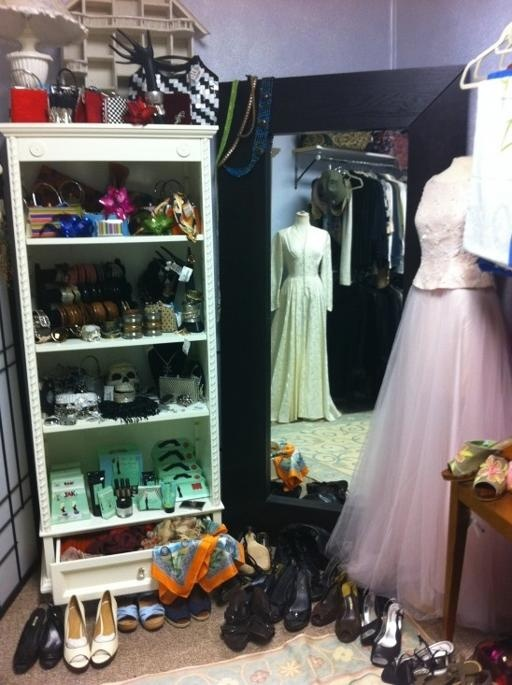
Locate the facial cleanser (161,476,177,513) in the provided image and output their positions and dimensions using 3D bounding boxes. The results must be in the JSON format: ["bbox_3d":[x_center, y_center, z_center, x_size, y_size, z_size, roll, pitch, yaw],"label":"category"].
[{"bbox_3d":[-0.330,0.584,2.092,0.093,0.134,0.083,-3,13,-6],"label":"facial cleanser"}]

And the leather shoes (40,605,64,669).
[{"bbox_3d":[-0.679,0.965,1.769,0.048,0.048,0.155,-1,38,-20],"label":"leather shoes"}]

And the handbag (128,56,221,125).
[{"bbox_3d":[-0.305,-0.907,1.926,0.335,0.285,0.070,-7,19,-23],"label":"handbag"}]

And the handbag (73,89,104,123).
[{"bbox_3d":[-0.554,-0.781,1.774,0.056,0.105,0.096,18,23,39],"label":"handbag"}]

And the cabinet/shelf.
[{"bbox_3d":[-0.492,0.081,2.042,0.799,1.663,0.621,-8,15,-22],"label":"cabinet/shelf"}]

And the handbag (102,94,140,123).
[{"bbox_3d":[-0.484,-0.802,1.844,0.088,0.095,0.051,-7,14,-17],"label":"handbag"}]

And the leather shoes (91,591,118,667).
[{"bbox_3d":[-0.499,0.944,1.763,0.059,0.056,0.189,2,34,-9],"label":"leather shoes"}]

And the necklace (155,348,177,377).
[{"bbox_3d":[-0.367,0.072,2.197,0.109,0.140,0.008,-1,14,-6],"label":"necklace"}]

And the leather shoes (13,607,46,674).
[{"bbox_3d":[-0.738,0.959,1.745,0.047,0.043,0.159,-1,32,-6],"label":"leather shoes"}]

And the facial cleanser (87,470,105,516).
[{"bbox_3d":[-0.601,0.565,2.043,0.064,0.168,0.059,-5,-3,-8],"label":"facial cleanser"}]

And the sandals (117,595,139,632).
[{"bbox_3d":[-0.451,0.957,1.896,0.042,0.033,0.123,-2,25,-12],"label":"sandals"}]

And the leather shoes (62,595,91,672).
[{"bbox_3d":[-0.578,0.940,1.743,0.065,0.079,0.218,1,34,-21],"label":"leather shoes"}]

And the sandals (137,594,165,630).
[{"bbox_3d":[-0.371,0.955,1.903,0.066,0.046,0.177,-2,9,-15],"label":"sandals"}]

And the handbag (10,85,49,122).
[{"bbox_3d":[-0.698,-0.732,1.661,0.113,0.119,0.111,-3,15,-18],"label":"handbag"}]

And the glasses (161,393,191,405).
[{"bbox_3d":[-0.312,0.222,2.111,0.107,0.047,0.039,4,-16,4],"label":"glasses"}]
